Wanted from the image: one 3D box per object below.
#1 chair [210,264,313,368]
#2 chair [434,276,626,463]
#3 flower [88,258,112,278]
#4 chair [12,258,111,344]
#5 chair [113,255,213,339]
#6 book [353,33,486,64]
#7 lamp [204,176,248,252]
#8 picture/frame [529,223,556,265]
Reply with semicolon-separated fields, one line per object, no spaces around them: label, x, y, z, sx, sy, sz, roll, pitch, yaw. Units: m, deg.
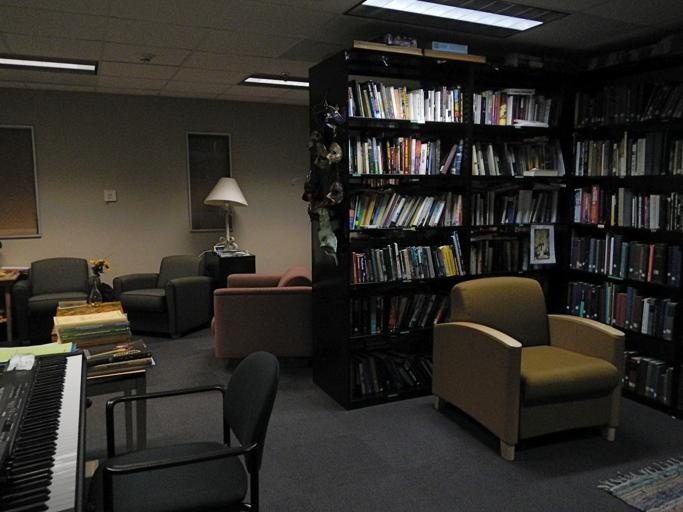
chair;-0.784;0.543;5.091;0.923;0.683;0.946;1;2;-8
chair;1.396;0.755;3.908;1.189;0.993;1.210;0;6;-3
flower;-2.628;0.121;5.543;0.228;0.217;0.228;0;-6;-2
chair;-3.141;0.416;6.101;1.203;1.229;0.938;0;-1;-25
chair;-2.119;0.394;6.307;1.003;0.969;0.951;1;2;20
book;0.643;-1.590;4.049;1.198;0.112;0.069;-5;12;-20
lamp;-1.542;-0.533;6.886;0.529;1.016;0.755;-3;12;-13
picture/frame;1.817;-0.110;4.667;0.359;0.406;0.022;-3;1;-31
